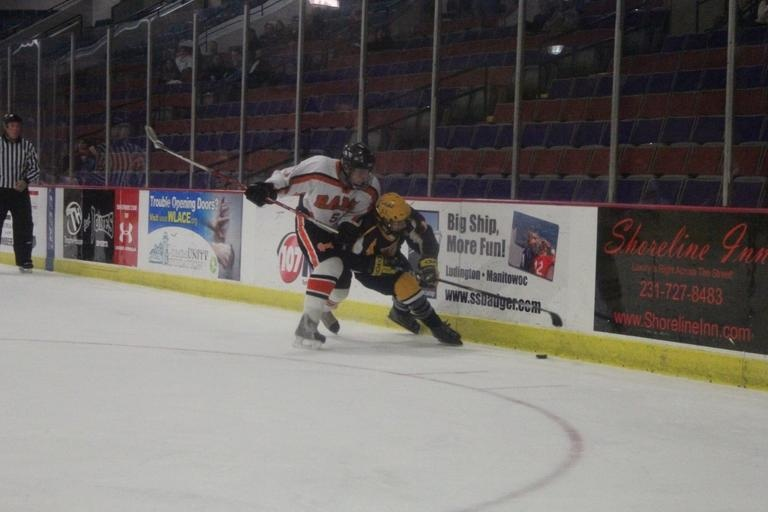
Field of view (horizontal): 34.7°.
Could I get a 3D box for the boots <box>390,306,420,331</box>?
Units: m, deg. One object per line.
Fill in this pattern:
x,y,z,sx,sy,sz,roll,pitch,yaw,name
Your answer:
0.227,0.640,12.825,0.299,0.190,0.095,32,32,-4,boots

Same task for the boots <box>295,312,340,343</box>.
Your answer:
-0.677,0.720,12.539,0.286,0.300,0.704,2,2,12,boots

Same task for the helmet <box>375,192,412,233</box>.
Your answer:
0.098,-0.429,12.515,0.338,0.389,0.149,2,2,0,helmet

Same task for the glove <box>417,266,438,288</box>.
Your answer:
0.452,0.213,12.702,0.184,0.187,0.222,-2,2,-3,glove

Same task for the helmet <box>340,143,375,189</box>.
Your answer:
-0.270,-0.908,12.370,0.333,0.433,0.284,2,2,-3,helmet
